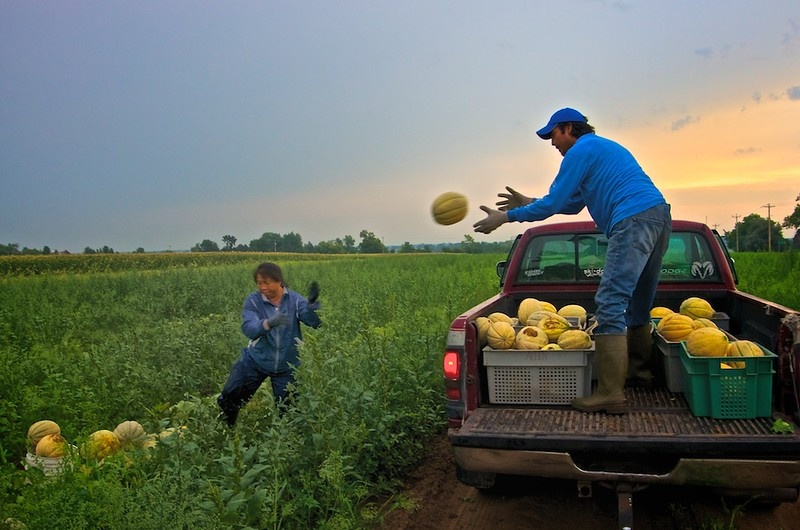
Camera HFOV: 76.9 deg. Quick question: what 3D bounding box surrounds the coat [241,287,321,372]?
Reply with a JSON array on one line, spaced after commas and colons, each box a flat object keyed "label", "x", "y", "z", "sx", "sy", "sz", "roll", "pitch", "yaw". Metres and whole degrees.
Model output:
[{"label": "coat", "x": -1.417, "y": 0.787, "z": 6.128, "sx": 1.073, "sy": 1.112, "sz": 0.771, "roll": 0, "pitch": -1, "yaw": 13}]
